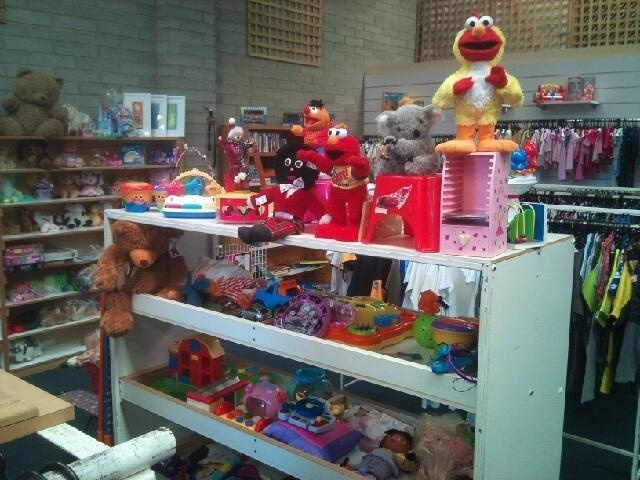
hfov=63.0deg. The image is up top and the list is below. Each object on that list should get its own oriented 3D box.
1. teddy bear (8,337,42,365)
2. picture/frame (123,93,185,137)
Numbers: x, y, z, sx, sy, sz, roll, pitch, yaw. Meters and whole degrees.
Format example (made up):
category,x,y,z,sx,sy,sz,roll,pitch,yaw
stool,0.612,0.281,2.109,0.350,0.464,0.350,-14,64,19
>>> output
category,x,y,z,sx,sy,sz,roll,pitch,yaw
teddy bear,-2.439,0.911,4.335,0.169,0.122,0.236,2,0,31
picture/frame,-1.573,-1.182,4.896,0.587,0.321,0.066,-6,10,-35
